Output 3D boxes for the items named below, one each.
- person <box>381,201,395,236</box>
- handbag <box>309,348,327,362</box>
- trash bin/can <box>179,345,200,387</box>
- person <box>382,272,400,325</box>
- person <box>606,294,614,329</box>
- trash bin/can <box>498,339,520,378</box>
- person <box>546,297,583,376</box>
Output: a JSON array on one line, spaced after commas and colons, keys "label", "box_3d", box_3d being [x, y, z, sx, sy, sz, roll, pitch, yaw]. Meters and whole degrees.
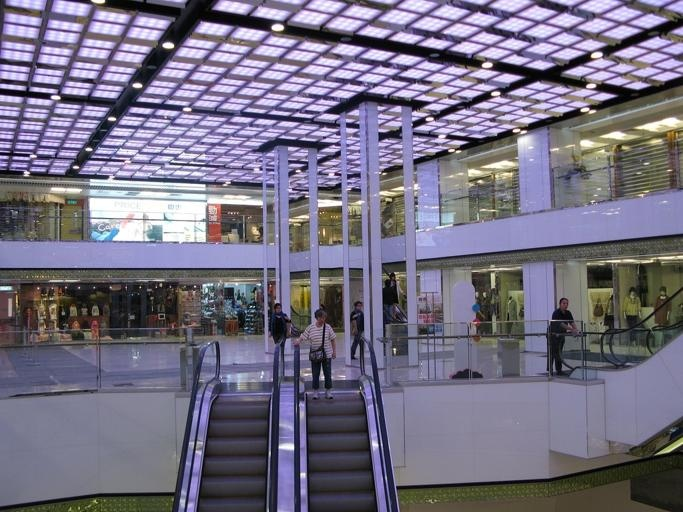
[{"label": "person", "box_3d": [2.226, -1.756, 26.515, 0.398, 1.345, 0.938, 12, -8, -19]}, {"label": "handbag", "box_3d": [-0.497, 2.181, 12.398, 0.471, 0.397, 0.274, -5, -18, 14]}, {"label": "trash bin/can", "box_3d": [-3.660, 2.671, 13.651, 0.463, 1.114, 0.216, -1, -3, -12]}, {"label": "person", "box_3d": [1.641, 1.381, 18.673, 0.418, 1.593, 1.256, -2, -3, 9]}, {"label": "person", "box_3d": [9.266, 1.803, 19.347, 0.227, 1.012, 0.416, -3, -3, 25]}, {"label": "trash bin/can", "box_3d": [4.225, 2.533, 14.108, 0.584, 0.975, 0.280, -1, -3, 0]}, {"label": "person", "box_3d": [5.607, 2.028, 14.296, 0.713, 1.877, 1.474, -3, -3, 20]}]
